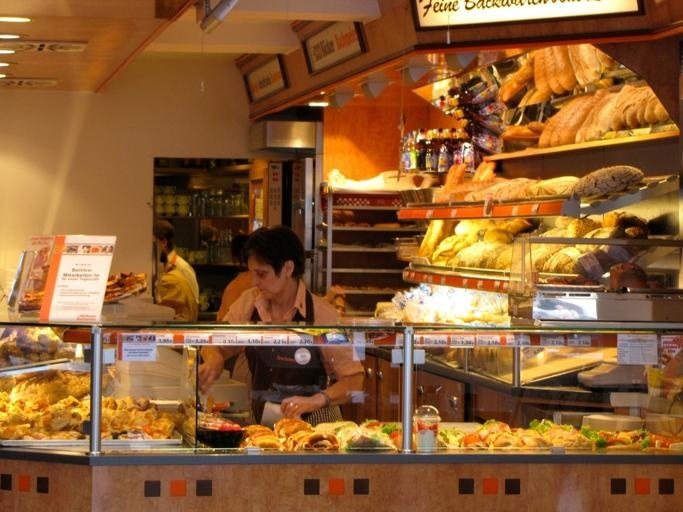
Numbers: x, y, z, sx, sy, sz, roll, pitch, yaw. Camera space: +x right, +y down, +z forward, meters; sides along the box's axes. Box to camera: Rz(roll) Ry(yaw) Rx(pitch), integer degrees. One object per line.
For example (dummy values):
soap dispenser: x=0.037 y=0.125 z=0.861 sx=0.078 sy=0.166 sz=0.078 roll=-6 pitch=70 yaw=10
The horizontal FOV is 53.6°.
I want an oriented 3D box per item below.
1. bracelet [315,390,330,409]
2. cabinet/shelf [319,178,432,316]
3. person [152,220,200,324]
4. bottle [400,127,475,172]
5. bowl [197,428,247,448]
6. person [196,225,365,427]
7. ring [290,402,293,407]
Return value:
bracelet: x=-0.079 y=0.659 z=3.073 sx=0.048 sy=0.070 sz=0.072 roll=4 pitch=-1 yaw=0
cabinet/shelf: x=0.379 y=-0.187 z=9.008 sx=1.523 sy=2.512 sz=1.473 roll=2 pitch=2 yaw=4
person: x=-1.636 y=0.183 z=6.784 sx=0.405 sy=0.971 sz=2.440 roll=0 pitch=8 yaw=-15
bottle: x=0.919 y=-0.945 z=6.653 sx=0.661 sy=0.378 sz=0.436 roll=0 pitch=-4 yaw=1
bowl: x=-0.537 y=0.790 z=2.980 sx=0.144 sy=0.048 sz=0.098 roll=2 pitch=-3 yaw=-24
person: x=-0.278 y=0.365 z=4.121 sx=0.780 sy=1.367 sz=0.770 roll=15 pitch=-24 yaw=-33
ring: x=-0.227 y=0.675 z=3.065 sx=0.026 sy=0.023 sz=0.006 roll=1 pitch=-4 yaw=-14
